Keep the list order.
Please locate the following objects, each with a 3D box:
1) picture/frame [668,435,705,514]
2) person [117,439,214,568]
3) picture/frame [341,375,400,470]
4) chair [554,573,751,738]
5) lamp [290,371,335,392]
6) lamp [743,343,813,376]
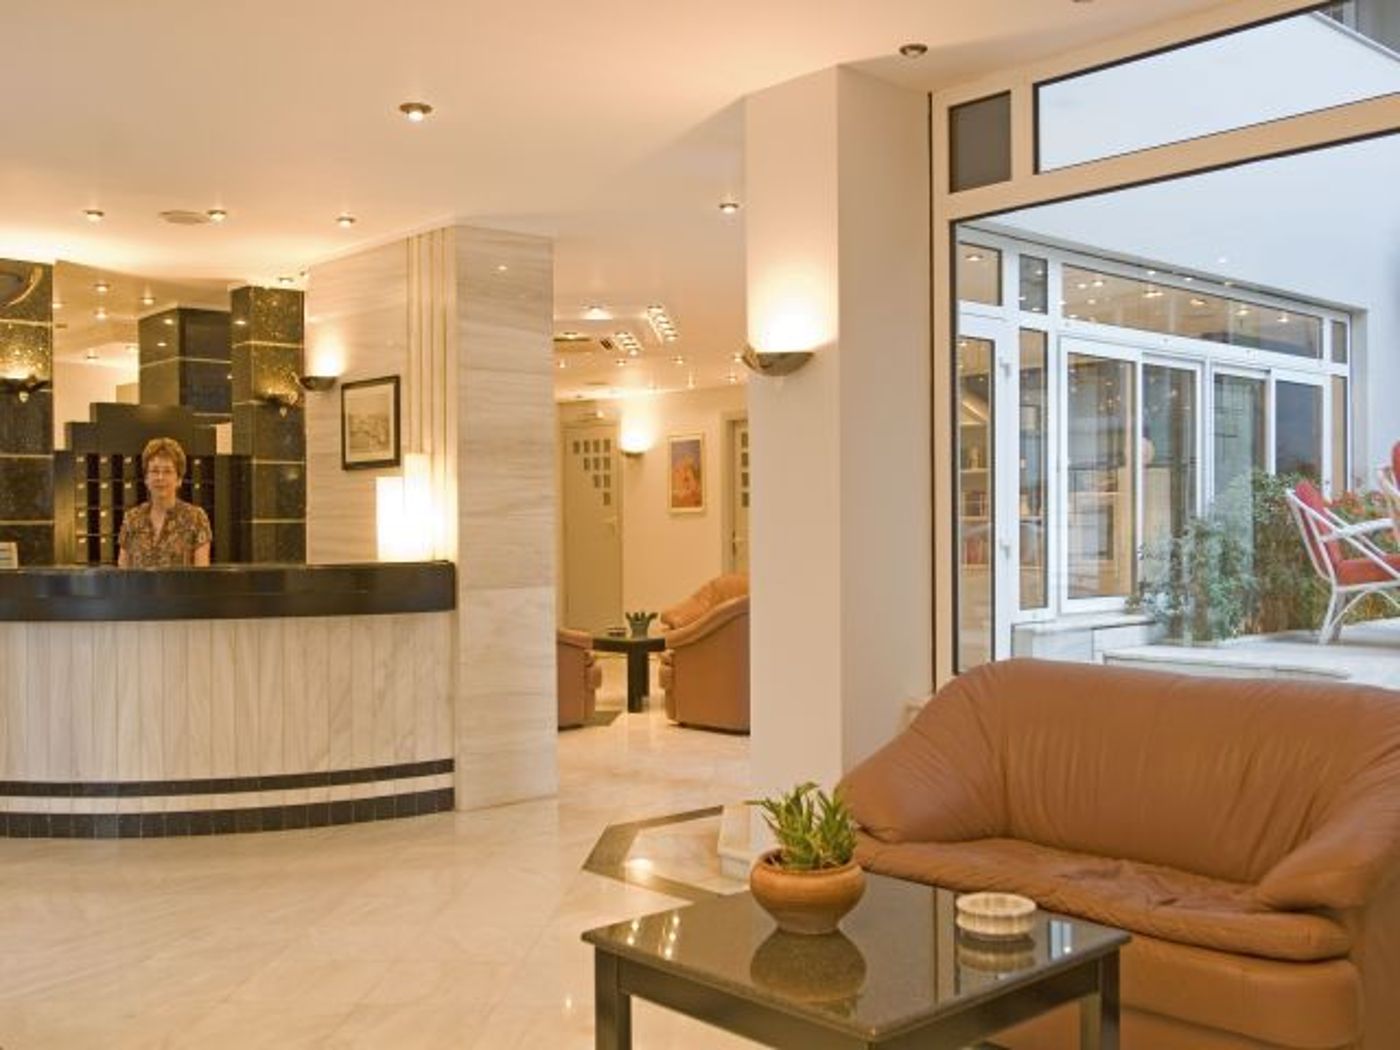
[{"bbox_3d":[-0.157,-0.628,13.697,0.561,0.896,0.031,-3,4,-41],"label":"picture/frame"},{"bbox_3d":[-3.308,-0.145,6.806,0.609,0.754,0.349,0,2,25],"label":"person"},{"bbox_3d":[-2.169,-0.697,7.371,0.668,0.643,0.048,2,4,43],"label":"picture/frame"},{"bbox_3d":[-0.459,1.057,9.143,1.230,0.914,1.472,-2,4,-41],"label":"chair"},{"bbox_3d":[-2.622,-0.975,7.634,0.337,0.123,0.133,1,2,42],"label":"lamp"},{"bbox_3d":[0.350,-0.752,5.115,0.201,0.070,0.180,1,2,34],"label":"lamp"}]
